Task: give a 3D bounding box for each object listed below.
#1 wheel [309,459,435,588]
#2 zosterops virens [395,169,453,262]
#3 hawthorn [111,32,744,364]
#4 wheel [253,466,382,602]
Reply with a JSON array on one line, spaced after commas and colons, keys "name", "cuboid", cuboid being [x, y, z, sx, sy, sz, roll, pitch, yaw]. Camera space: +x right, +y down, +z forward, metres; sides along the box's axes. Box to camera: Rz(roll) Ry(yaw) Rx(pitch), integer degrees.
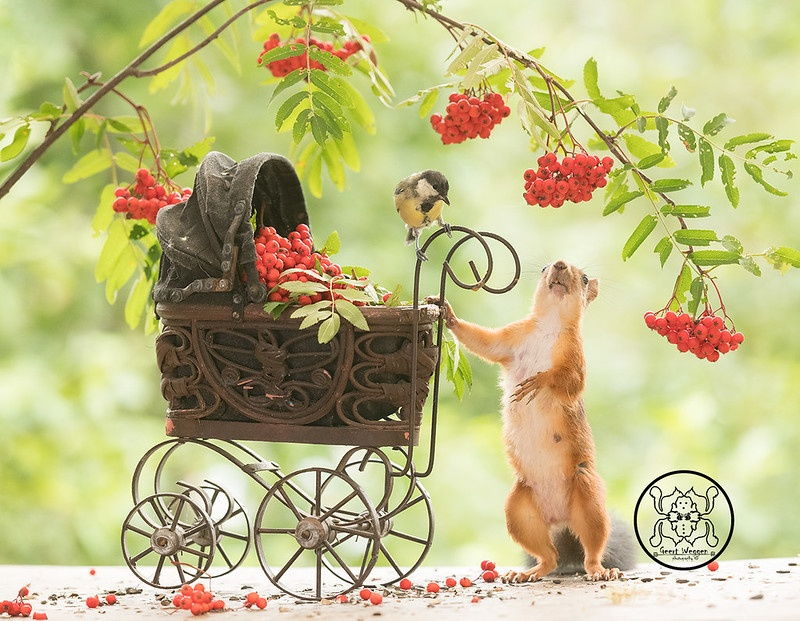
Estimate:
[{"name": "wheel", "cuboid": [-0.148, 1.277, 9.500, 0.905, 0.787, 0.665, 0, -9, -8]}, {"name": "zosterops virens", "cuboid": [0.206, -0.556, 9.029, 0.300, 0.553, 0.311, 2, -4, 25]}, {"name": "hawthorn", "cuboid": [0.119, -0.740, 8.948, 3.628, 2.002, 1.190, -2, -45, -1]}, {"name": "wheel", "cuboid": [-0.468, 1.241, 8.793, 0.757, 0.717, 0.368, 0, -7, 10]}]
